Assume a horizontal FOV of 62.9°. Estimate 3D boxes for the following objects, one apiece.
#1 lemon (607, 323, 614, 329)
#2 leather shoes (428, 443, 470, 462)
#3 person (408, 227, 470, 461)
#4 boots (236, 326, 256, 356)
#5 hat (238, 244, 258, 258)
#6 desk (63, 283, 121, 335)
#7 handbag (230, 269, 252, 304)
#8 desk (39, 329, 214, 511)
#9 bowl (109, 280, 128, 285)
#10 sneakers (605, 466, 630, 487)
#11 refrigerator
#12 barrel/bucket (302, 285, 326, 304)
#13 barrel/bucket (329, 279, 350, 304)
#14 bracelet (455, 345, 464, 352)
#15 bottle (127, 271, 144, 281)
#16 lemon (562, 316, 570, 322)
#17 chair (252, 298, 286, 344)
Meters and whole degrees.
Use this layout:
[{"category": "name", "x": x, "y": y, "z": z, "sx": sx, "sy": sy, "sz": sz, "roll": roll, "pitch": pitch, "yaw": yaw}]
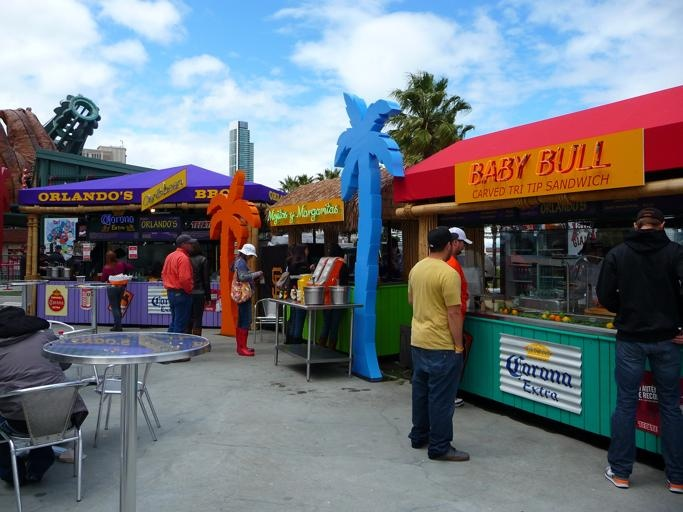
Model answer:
[{"category": "lemon", "x": 2.686, "y": 0.699, "z": 5.539, "sx": 0.053, "sy": 0.054, "sz": 0.065, "roll": 2, "pitch": -1, "yaw": 15}, {"category": "leather shoes", "x": 1.039, "y": 1.881, "z": 5.311, "sx": 0.393, "sy": 0.163, "sz": 0.152, "roll": -2, "pitch": -2, "yaw": -9}, {"category": "person", "x": 0.897, "y": 0.826, "z": 5.285, "sx": 0.560, "sy": 2.200, "sz": 0.346, "roll": 0, "pitch": -1, "yaw": 26}, {"category": "boots", "x": -1.670, "y": 1.490, "z": 9.829, "sx": 0.431, "sy": 0.661, "sz": 0.420, "roll": -1, "pitch": 1, "yaw": -19}, {"category": "hat", "x": -1.597, "y": -0.089, "z": 9.696, "sx": 0.274, "sy": 0.141, "sz": 0.276, "roll": 7, "pitch": -11, "yaw": 10}, {"category": "desk", "x": -5.080, "y": 1.051, "z": 11.452, "sx": 1.061, "sy": 0.971, "sz": 0.712, "roll": 3, "pitch": 4, "yaw": 12}, {"category": "handbag", "x": -1.699, "y": 0.549, "z": 9.456, "sx": 0.370, "sy": 0.534, "sz": 0.240, "roll": 0, "pitch": -1, "yaw": 3}, {"category": "desk", "x": -1.587, "y": 1.277, "z": 4.124, "sx": 1.098, "sy": 1.293, "sz": 1.050, "roll": 1, "pitch": -1, "yaw": -30}, {"category": "bowl", "x": -4.565, "y": 0.556, "z": 11.388, "sx": 0.351, "sy": 0.110, "sz": 0.224, "roll": 1, "pitch": -2, "yaw": -27}, {"category": "sneakers", "x": 2.392, "y": 1.913, "z": 4.808, "sx": 0.078, "sy": 0.089, "sz": 0.210, "roll": -2, "pitch": 5, "yaw": 2}, {"category": "refrigerator", "x": 2.612, "y": 0.141, "z": 7.037, "sx": 0.636, "sy": 1.045, "sz": 1.130, "roll": 0, "pitch": 1, "yaw": -27}, {"category": "barrel/bucket", "x": -0.394, "y": 0.580, "z": 8.211, "sx": 0.266, "sy": 0.228, "sz": 0.272, "roll": 1, "pitch": -3, "yaw": 0}, {"category": "barrel/bucket", "x": 0.008, "y": 0.580, "z": 8.244, "sx": 0.237, "sy": 0.263, "sz": 0.370, "roll": -1, "pitch": -2, "yaw": 36}, {"category": "bracelet", "x": 1.109, "y": 0.861, "z": 5.162, "sx": 0.062, "sy": 0.042, "sz": 0.053, "roll": 10, "pitch": -11, "yaw": -39}, {"category": "bottle", "x": -5.013, "y": 0.505, "z": 13.551, "sx": 0.285, "sy": 0.362, "sz": 0.274, "roll": 1, "pitch": 4, "yaw": 0}, {"category": "lemon", "x": 2.424, "y": 0.685, "z": 5.980, "sx": 0.059, "sy": 0.055, "sz": 0.055, "roll": 7, "pitch": 1, "yaw": -31}, {"category": "chair", "x": -1.450, "y": 1.306, "z": 11.216, "sx": 0.875, "sy": 1.250, "sz": 0.850, "roll": 1, "pitch": -10, "yaw": -9}]
